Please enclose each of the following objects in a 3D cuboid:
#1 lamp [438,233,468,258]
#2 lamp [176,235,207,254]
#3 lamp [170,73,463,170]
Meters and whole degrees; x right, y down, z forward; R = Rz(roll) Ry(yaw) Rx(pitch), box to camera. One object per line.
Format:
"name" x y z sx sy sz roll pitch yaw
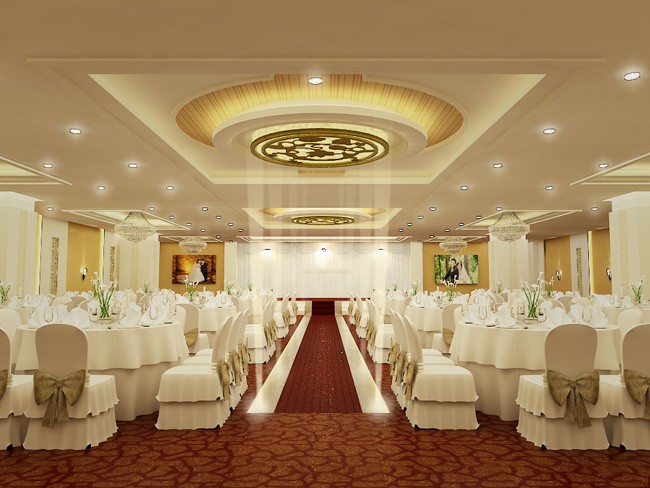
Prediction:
"lamp" 5.167 0.021 16.935 1.172 0.899 1.093 -1 -2 -3
"lamp" -4.698 0.016 14.359 1.080 0.555 1.041 -1 -2 17
"lamp" -0.084 -1.817 5.859 3.997 0.348 1.495 0 -5 -2
